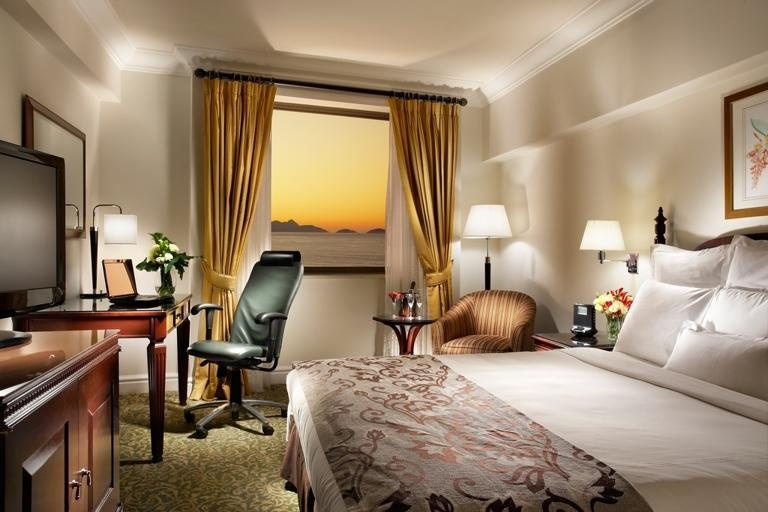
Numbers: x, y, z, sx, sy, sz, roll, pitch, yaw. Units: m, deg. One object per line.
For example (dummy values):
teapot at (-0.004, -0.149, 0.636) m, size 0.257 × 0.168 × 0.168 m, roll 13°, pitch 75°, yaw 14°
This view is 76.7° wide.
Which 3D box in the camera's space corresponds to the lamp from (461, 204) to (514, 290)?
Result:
lamp at (1.195, -0.019, 5.586) m, size 0.565 × 1.179 × 0.557 m, roll 4°, pitch 15°, yaw 28°

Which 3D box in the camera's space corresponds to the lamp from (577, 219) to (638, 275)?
lamp at (1.926, -0.059, 4.153) m, size 0.429 × 0.408 × 0.321 m, roll 3°, pitch -8°, yaw 16°

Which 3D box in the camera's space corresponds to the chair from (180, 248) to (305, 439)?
chair at (-1.264, 0.707, 4.293) m, size 0.877 × 1.487 × 1.051 m, roll 1°, pitch -3°, yaw 17°

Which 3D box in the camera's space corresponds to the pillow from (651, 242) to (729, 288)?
pillow at (2.122, 0.065, 3.393) m, size 0.451 × 0.321 × 0.118 m, roll 0°, pitch 16°, yaw 25°

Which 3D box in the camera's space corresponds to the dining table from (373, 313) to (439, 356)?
dining table at (0.182, 0.737, 5.113) m, size 0.498 × 0.555 × 0.502 m, roll 1°, pitch 0°, yaw 6°

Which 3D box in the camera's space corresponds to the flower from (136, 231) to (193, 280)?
flower at (-1.905, 0.048, 4.349) m, size 0.473 × 0.292 × 0.474 m, roll 3°, pitch -4°, yaw -8°

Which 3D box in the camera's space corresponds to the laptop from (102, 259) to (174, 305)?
laptop at (-1.962, 0.185, 3.888) m, size 0.403 × 0.323 × 0.463 m, roll -3°, pitch 0°, yaw 0°

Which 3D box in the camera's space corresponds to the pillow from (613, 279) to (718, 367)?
pillow at (1.841, 0.425, 3.206) m, size 0.158 × 0.489 × 0.518 m, roll 27°, pitch -14°, yaw -15°
